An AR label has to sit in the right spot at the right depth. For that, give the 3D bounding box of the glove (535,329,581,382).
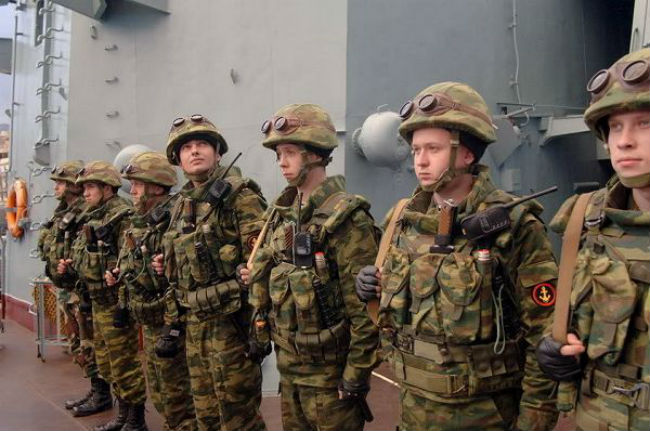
[{"bbox_3d":[1.902,1.125,5.278,0.335,0.355,0.151,11,22,33],"label":"glove"}]

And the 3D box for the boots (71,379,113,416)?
[{"bbox_3d":[-3.010,2.510,8.768,0.269,0.508,0.680,-4,-10,44],"label":"boots"}]

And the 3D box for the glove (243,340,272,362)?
[{"bbox_3d":[-0.716,1.417,6.754,0.249,0.238,0.216,9,-8,10],"label":"glove"}]

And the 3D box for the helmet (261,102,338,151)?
[{"bbox_3d":[-0.246,-0.872,6.532,0.553,0.349,0.538,2,-3,-32],"label":"helmet"}]

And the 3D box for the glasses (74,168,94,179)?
[{"bbox_3d":[-3.360,-0.584,9.047,0.180,0.067,0.145,-15,26,50],"label":"glasses"}]

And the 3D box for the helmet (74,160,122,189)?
[{"bbox_3d":[-3.152,-0.557,9.091,0.409,0.279,0.429,-13,-16,40],"label":"helmet"}]

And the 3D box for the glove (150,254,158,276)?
[{"bbox_3d":[-1.969,0.585,7.544,0.077,0.222,0.156,0,-6,-40],"label":"glove"}]

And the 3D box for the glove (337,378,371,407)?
[{"bbox_3d":[0.287,1.672,6.140,0.304,0.260,0.245,5,-6,31],"label":"glove"}]

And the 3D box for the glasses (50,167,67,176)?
[{"bbox_3d":[-4.032,-0.683,9.912,0.191,0.106,0.289,1,15,18],"label":"glasses"}]

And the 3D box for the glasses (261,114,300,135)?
[{"bbox_3d":[-0.417,-0.898,6.457,0.198,0.098,0.275,1,-1,-37],"label":"glasses"}]

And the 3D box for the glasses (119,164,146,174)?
[{"bbox_3d":[-2.405,-0.564,8.028,0.160,0.063,0.169,-3,-5,31],"label":"glasses"}]

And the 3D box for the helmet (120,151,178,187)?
[{"bbox_3d":[-2.184,-0.571,8.119,0.558,0.374,0.428,21,-13,-16],"label":"helmet"}]

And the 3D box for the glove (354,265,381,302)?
[{"bbox_3d":[0.391,0.631,5.909,0.233,0.318,0.139,-1,-17,23],"label":"glove"}]
